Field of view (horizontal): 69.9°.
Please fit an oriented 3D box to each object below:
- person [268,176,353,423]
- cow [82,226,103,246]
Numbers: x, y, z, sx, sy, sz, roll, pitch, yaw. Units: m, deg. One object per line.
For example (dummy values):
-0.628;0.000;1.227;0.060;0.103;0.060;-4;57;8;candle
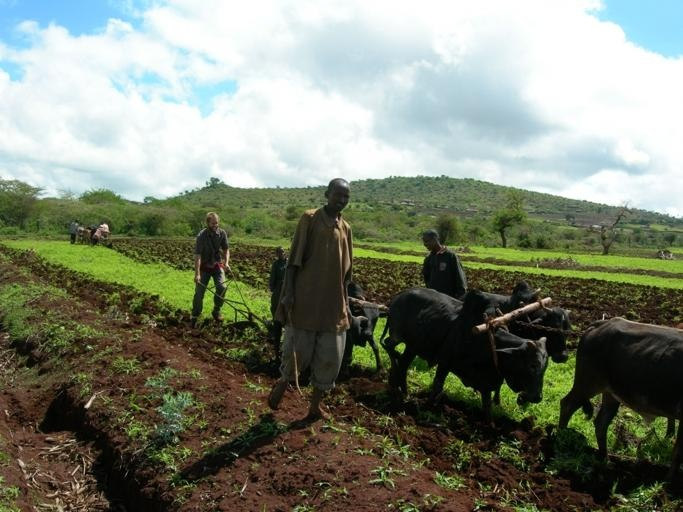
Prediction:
-0.339;0.531;6.119;0.936;2.999;0.447;5;7;-6;person
-14.852;-1.187;28.823;0.703;0.953;2.233;0;9;-40;cow
